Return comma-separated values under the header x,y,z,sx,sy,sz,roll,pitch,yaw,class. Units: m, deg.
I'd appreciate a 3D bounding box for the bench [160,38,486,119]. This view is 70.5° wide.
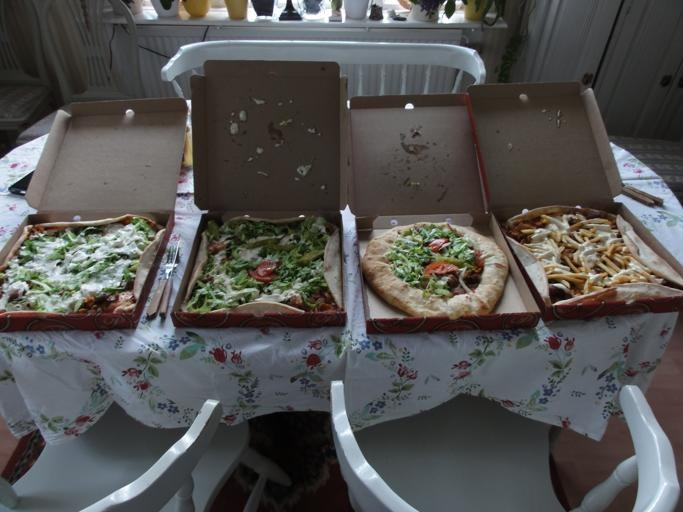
x,y,z,sx,sy,sz,roll,pitch,yaw,class
0.033,-0.962,2.623,1.790,0.451,0.326,-5,37,-15,bench

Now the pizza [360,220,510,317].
x,y,z,sx,sy,sz,roll,pitch,yaw,class
0.294,0.041,1.473,0.298,0.056,0.302,10,43,15,pizza

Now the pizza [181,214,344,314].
x,y,z,sx,sy,sz,roll,pitch,yaw,class
-0.231,0.013,1.500,0.461,0.050,0.418,-2,44,0,pizza

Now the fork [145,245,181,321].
x,y,z,sx,sy,sz,roll,pitch,yaw,class
-0.530,0.063,1.442,0.049,0.019,0.224,1,45,5,fork
